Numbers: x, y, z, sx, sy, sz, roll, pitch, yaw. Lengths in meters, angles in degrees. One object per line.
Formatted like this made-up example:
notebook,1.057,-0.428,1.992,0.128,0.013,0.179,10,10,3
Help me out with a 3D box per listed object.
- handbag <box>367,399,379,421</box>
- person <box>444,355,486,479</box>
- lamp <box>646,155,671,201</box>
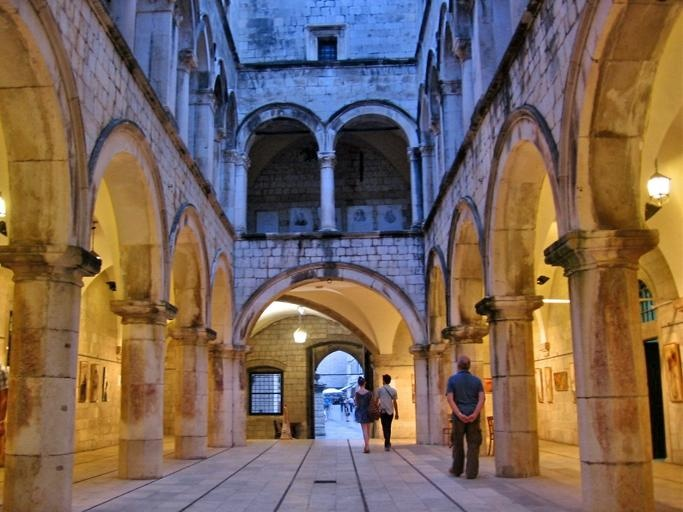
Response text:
handbag,0.553,2.810,14.065,0.154,0.431,0.405,-6,-12,4
person,1.617,2.117,10.116,0.508,1.527,0.930,-4,-15,7
lamp,4.062,-0.964,9.946,0.291,0.612,0.315,-1,-21,9
